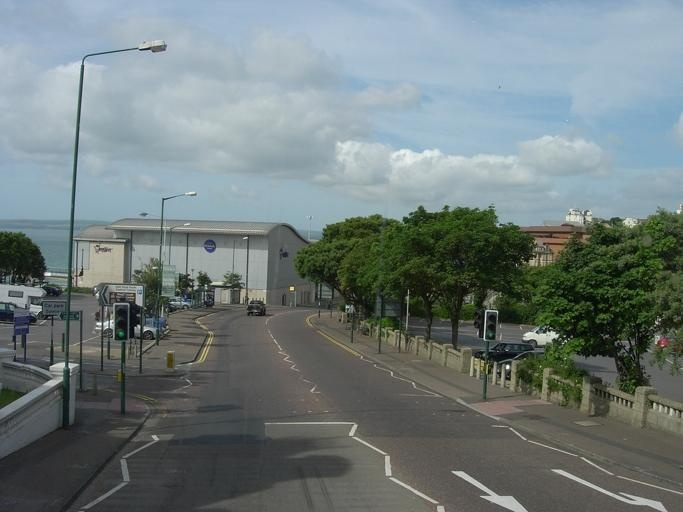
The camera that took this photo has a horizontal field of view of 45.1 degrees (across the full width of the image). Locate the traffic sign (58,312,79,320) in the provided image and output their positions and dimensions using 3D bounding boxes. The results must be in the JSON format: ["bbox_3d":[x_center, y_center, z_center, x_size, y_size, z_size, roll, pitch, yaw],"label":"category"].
[{"bbox_3d":[-12.475,2.676,37.584,0.707,0.200,0.759,0,-2,-5],"label":"traffic sign"}]

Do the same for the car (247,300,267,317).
[{"bbox_3d":[-9.306,5.597,89.285,1.795,1.372,2.957,0,4,-7],"label":"car"}]

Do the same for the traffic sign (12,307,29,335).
[{"bbox_3d":[-16.388,3.380,42.111,0.519,1.355,1.335,0,4,-12],"label":"traffic sign"}]

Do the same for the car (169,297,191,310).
[{"bbox_3d":[-19.103,5.509,97.185,1.945,1.050,1.208,-2,1,-2],"label":"car"}]

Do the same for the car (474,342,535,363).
[{"bbox_3d":[10.183,5.789,50.566,3.374,1.263,1.643,2,-3,-10],"label":"car"}]
